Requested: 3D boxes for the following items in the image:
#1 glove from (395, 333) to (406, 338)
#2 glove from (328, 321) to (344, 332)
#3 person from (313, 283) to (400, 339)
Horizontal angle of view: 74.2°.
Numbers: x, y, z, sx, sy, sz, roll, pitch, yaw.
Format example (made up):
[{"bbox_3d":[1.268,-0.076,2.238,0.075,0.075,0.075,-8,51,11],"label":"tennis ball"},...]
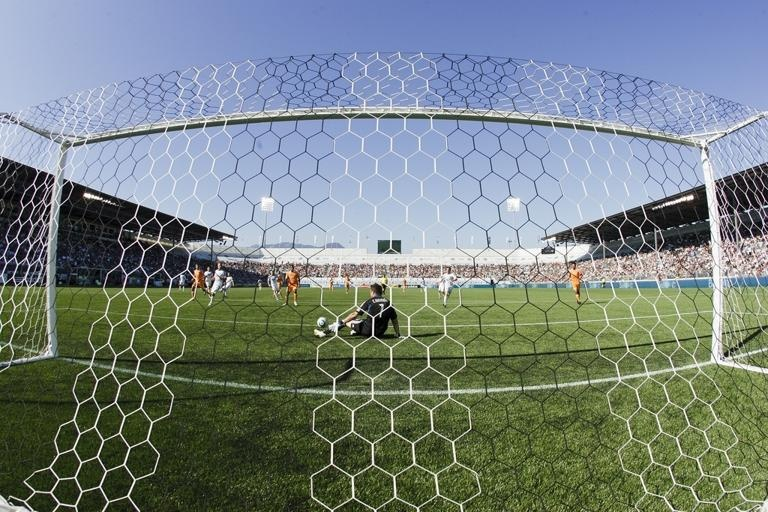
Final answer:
[{"bbox_3d":[0.264,1.380,8.787,0.233,0.087,0.071,-5,-8,14],"label":"glove"},{"bbox_3d":[-0.788,1.196,8.500,0.220,0.105,0.294,-2,-3,8],"label":"glove"},{"bbox_3d":[-0.458,0.956,8.686,1.519,0.876,0.919,-8,-10,42],"label":"person"}]
